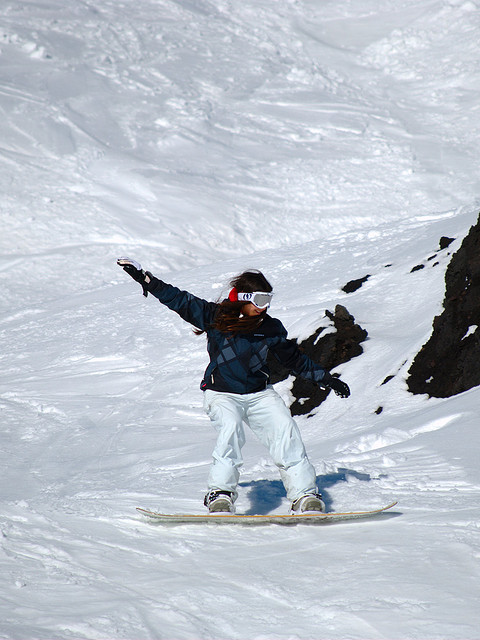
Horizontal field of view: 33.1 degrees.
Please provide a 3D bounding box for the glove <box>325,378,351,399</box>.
[{"bbox_3d":[0.715,0.474,5.705,0.177,0.122,0.060,21,63,25],"label":"glove"}]

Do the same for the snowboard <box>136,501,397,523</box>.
[{"bbox_3d":[0.214,1.251,5.222,1.755,0.157,0.099,0,72,1],"label":"snowboard"}]

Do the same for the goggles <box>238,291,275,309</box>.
[{"bbox_3d":[0.124,-0.126,5.539,0.177,0.134,0.068,0,89,34],"label":"goggles"}]

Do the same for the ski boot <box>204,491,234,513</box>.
[{"bbox_3d":[-0.122,1.172,5.189,0.149,0.370,0.134,2,82,-5],"label":"ski boot"}]
